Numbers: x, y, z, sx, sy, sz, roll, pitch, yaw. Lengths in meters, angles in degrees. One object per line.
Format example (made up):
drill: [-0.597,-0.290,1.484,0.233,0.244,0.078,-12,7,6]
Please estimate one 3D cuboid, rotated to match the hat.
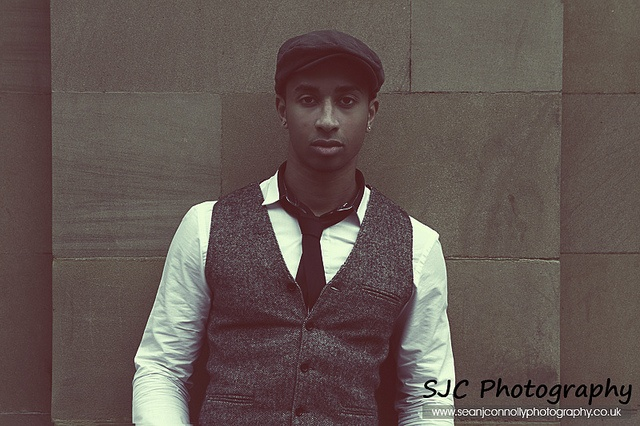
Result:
hat: [0.031,-0.896,7.095,0.427,0.231,0.485,1,-18,-5]
